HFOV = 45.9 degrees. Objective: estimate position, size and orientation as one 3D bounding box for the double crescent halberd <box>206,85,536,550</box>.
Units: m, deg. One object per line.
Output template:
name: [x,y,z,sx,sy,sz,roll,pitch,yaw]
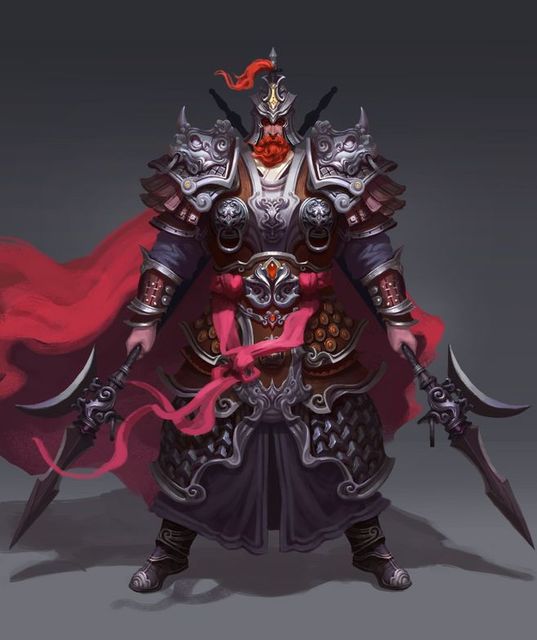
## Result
double crescent halberd: [0.560,-0.051,2.458,0.989,1.783,0.172,-15,-6,1]
